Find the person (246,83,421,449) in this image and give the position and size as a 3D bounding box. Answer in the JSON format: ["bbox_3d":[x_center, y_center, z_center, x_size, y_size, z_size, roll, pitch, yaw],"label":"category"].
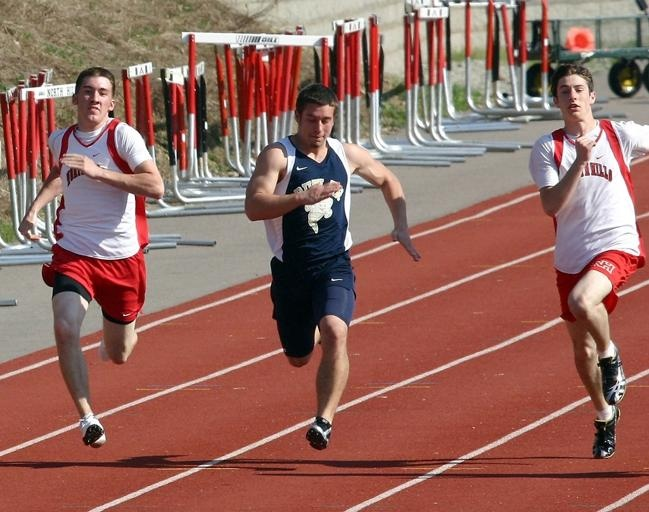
[{"bbox_3d":[-0.026,0.076,5.744,0.741,2.063,1.049,2,10,27],"label":"person"}]

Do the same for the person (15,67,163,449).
[{"bbox_3d":[-1.346,0.008,5.940,0.767,2.184,1.006,-7,10,-24],"label":"person"}]

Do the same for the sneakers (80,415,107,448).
[{"bbox_3d":[-1.285,0.960,5.619,0.115,0.197,0.079,-23,14,-19],"label":"sneakers"}]

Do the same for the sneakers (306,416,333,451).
[{"bbox_3d":[-0.024,0.916,5.335,0.090,0.216,0.108,27,62,23],"label":"sneakers"}]

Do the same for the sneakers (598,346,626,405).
[{"bbox_3d":[1.543,0.650,5.488,0.136,0.361,0.155,0,10,15],"label":"sneakers"}]

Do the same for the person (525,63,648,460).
[{"bbox_3d":[1.451,0.029,5.594,0.616,2.147,0.752,0,10,18],"label":"person"}]
